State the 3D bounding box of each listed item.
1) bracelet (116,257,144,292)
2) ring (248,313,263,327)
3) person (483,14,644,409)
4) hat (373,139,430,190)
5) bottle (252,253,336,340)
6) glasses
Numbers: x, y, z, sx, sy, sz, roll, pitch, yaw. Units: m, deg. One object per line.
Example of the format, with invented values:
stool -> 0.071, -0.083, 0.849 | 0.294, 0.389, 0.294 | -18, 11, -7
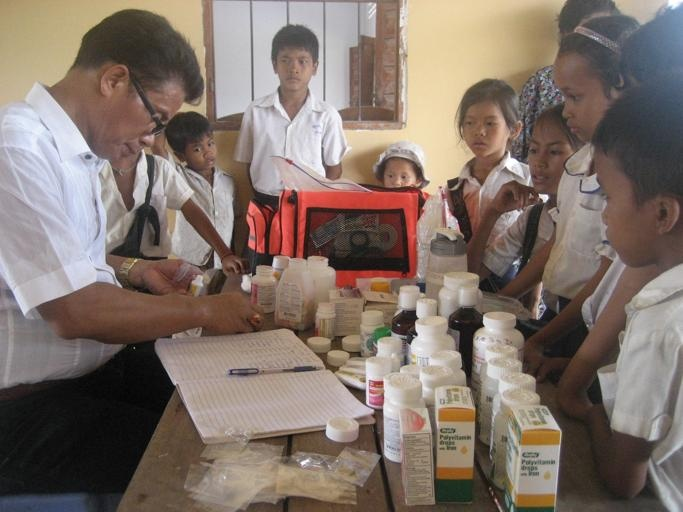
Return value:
bracelet -> -0.731, 0.055, 1.937 | 0.065, 0.109, 0.101 | 2, 4, 0
ring -> -0.241, 0.177, 1.536 | 0.018, 0.034, 0.022 | 23, 39, 35
person -> 0.830, -0.090, 1.820 | 0.451, 1.297, 0.458 | -4, 17, 21
hat -> 0.360, -0.524, 3.307 | 0.319, 0.226, 0.408 | 5, -16, 0
bottle -> -0.113, 0.102, 1.592 | 0.210, 0.347, 0.188 | 2, 2, 31
glasses -> -0.518, -0.402, 1.454 | 0.033, 0.129, 0.124 | -17, 9, 15
